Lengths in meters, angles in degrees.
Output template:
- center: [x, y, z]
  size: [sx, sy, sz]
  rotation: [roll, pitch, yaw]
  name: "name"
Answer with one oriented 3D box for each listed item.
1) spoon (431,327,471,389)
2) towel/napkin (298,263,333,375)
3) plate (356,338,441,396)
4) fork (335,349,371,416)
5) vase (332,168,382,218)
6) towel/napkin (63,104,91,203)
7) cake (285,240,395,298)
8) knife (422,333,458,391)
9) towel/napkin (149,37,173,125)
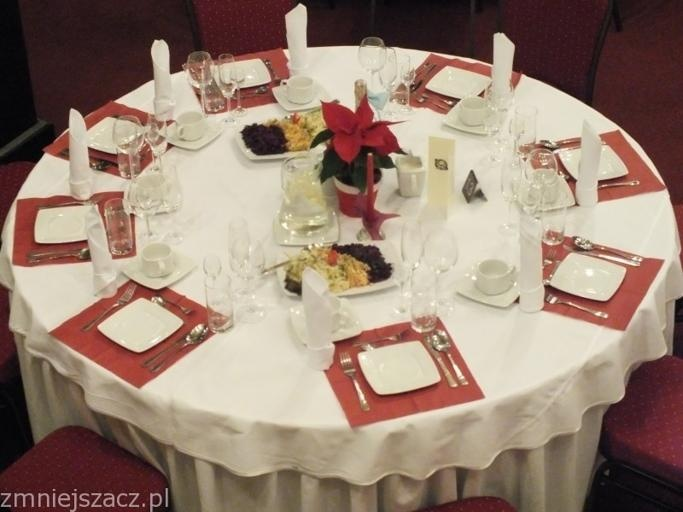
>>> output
- center: [0.344, 0.323, 1.816]
  size: [0.049, 0.041, 0.239]
  rotation: [-1, 32, -18]
  name: "spoon"
- center: [-0.073, 0.202, 1.735]
  size: [0.086, 0.331, 0.108]
  rotation: [-8, 36, -6]
  name: "towel/napkin"
- center: [0.176, 0.360, 1.757]
  size: [0.232, 0.042, 0.288]
  rotation: [-9, 21, 5]
  name: "plate"
- center: [0.039, 0.388, 1.754]
  size: [0.039, 0.039, 0.289]
  rotation: [5, 54, -26]
  name: "fork"
- center: [0.069, -0.230, 2.292]
  size: [0.166, 0.154, 0.185]
  rotation: [9, 42, 6]
  name: "vase"
- center: [-1.127, -0.426, 2.422]
  size: [0.074, 0.358, 0.096]
  rotation: [8, 27, -2]
  name: "towel/napkin"
- center: [0.010, 0.053, 2.035]
  size: [0.264, 0.054, 0.237]
  rotation: [-2, 56, -2]
  name: "cake"
- center: [0.308, 0.341, 1.806]
  size: [0.036, 0.032, 0.287]
  rotation: [-12, 42, -6]
  name: "knife"
- center: [-0.895, -0.907, 2.826]
  size: [0.082, 0.375, 0.089]
  rotation: [20, 29, 34]
  name: "towel/napkin"
